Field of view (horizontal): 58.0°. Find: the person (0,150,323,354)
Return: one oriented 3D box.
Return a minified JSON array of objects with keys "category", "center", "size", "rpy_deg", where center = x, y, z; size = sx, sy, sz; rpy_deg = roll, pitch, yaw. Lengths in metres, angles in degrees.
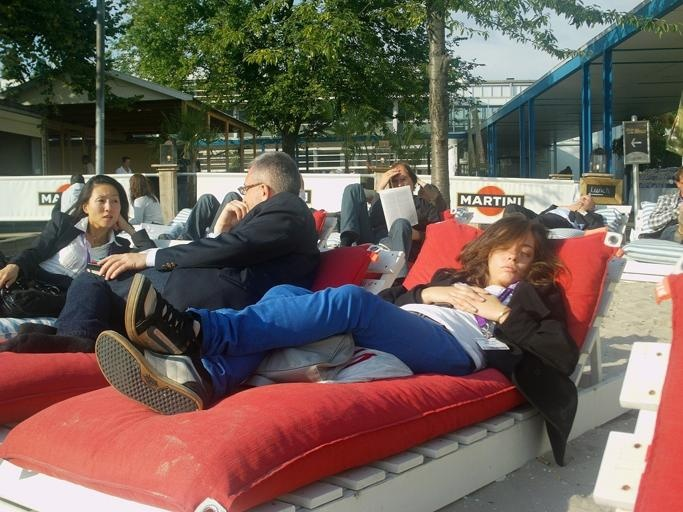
[{"category":"person","center":[-0.884,-0.014,3.983],"size":[1.980,1.245,0.863],"rpy_deg":[0,-2,-3]}]

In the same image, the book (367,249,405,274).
[{"category":"book","center":[0.316,0.035,4.426],"size":[0.226,0.168,0.054],"rpy_deg":[0,-14,34]}]

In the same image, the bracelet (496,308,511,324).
[{"category":"bracelet","center":[0.952,0.351,3.655],"size":[0.069,0.031,0.092],"rpy_deg":[-48,10,-30]}]

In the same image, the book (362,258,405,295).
[{"category":"book","center":[0.338,0.197,4.510],"size":[0.267,0.256,0.080],"rpy_deg":[14,-16,41]}]

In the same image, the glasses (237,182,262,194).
[{"category":"glasses","center":[-0.640,-0.493,4.356],"size":[0.191,0.058,0.188],"rpy_deg":[-5,6,-13]}]

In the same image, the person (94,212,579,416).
[{"category":"person","center":[0.032,0.407,3.262],"size":[1.947,0.728,1.133],"rpy_deg":[2,-1,-28]}]

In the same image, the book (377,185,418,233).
[{"category":"book","center":[0.587,-0.509,6.486],"size":[0.433,0.450,0.105],"rpy_deg":[-7,-4,-34]}]
